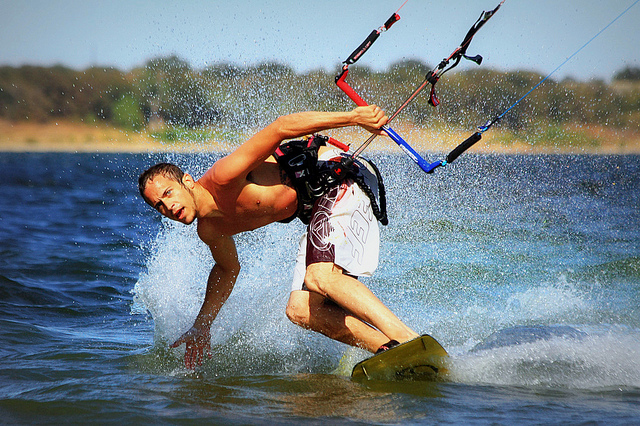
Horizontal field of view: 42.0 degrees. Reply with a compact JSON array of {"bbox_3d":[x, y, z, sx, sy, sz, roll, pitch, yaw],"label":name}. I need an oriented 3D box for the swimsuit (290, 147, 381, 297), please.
[{"bbox_3d":[0.164,0.246,12.522,1.242,1.495,2.000,13,73,-14],"label":"swimsuit"}]
